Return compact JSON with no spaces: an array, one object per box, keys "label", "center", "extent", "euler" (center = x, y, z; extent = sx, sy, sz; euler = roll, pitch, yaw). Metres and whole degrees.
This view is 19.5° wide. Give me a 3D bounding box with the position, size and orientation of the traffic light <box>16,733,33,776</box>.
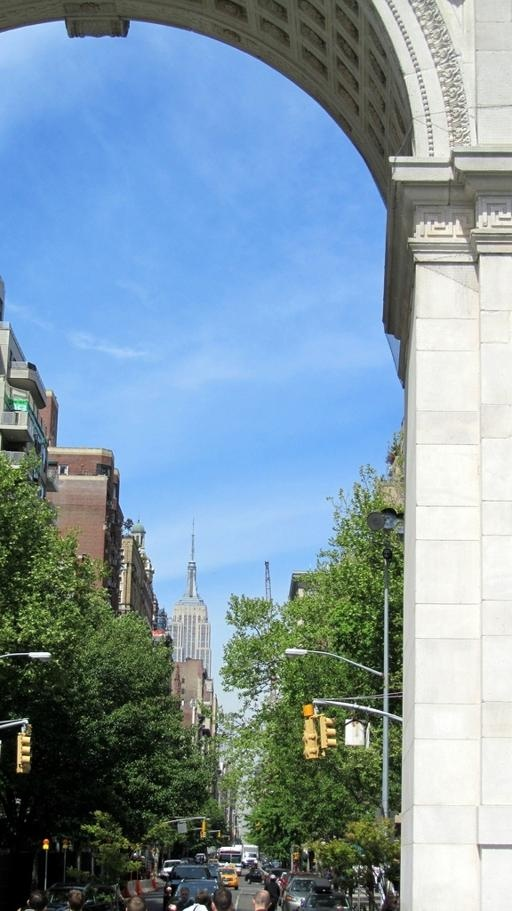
[{"label":"traffic light","center":[-5.188,6.642,33.551],"extent":[0.265,0.918,1.051],"euler":[1,-13,-12]}]
